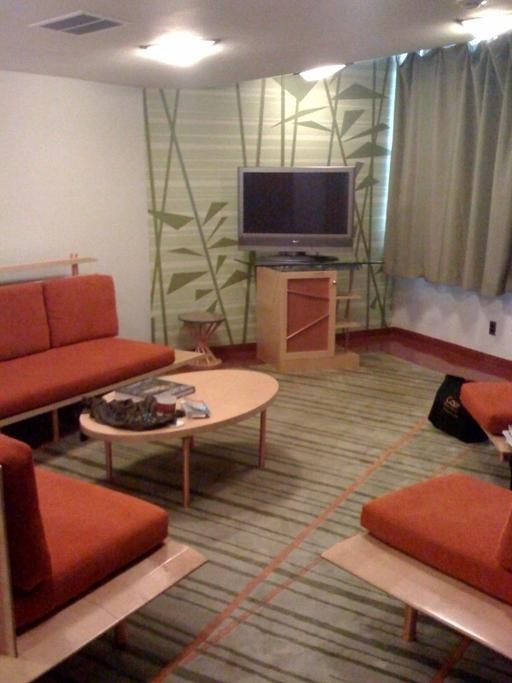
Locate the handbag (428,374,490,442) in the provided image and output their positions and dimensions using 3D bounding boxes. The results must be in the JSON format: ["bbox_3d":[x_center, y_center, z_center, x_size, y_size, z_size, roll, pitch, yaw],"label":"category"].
[{"bbox_3d":[1.226,0.369,3.192,0.251,0.335,0.353,-6,19,-31],"label":"handbag"}]

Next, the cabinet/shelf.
[{"bbox_3d":[0.415,-0.268,4.848,0.894,1.026,0.843,-5,16,-17],"label":"cabinet/shelf"}]

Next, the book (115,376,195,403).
[{"bbox_3d":[-0.469,0.219,2.547,0.157,0.032,0.167,8,17,23],"label":"book"}]

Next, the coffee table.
[{"bbox_3d":[-0.287,0.254,2.584,0.573,0.308,0.905,12,21,32],"label":"coffee table"}]

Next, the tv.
[{"bbox_3d":[0.325,-1.057,4.448,0.935,0.611,0.239,0,15,-2],"label":"tv"}]
